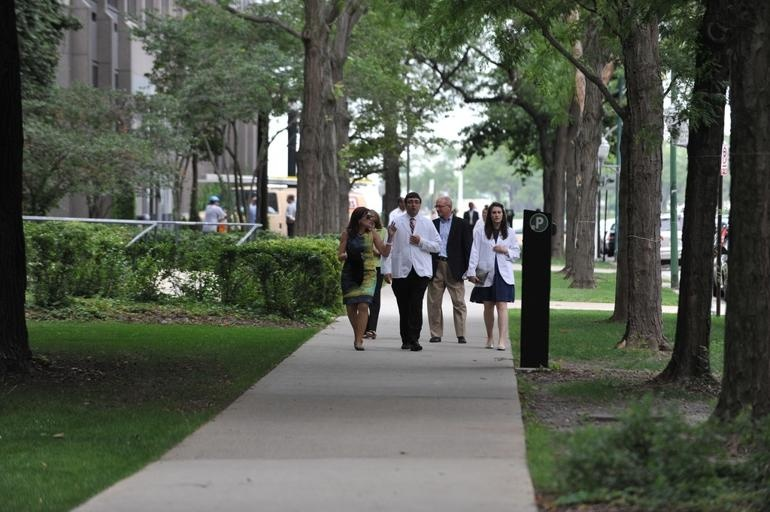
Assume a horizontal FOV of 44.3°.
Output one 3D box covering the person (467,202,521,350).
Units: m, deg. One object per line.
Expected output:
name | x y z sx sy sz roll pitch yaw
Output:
person | 1.621 0.292 14.315 0.768 2.245 0.561 2 7 14

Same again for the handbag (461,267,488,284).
handbag | 1.373 0.294 14.258 0.359 0.246 0.175 3 8 25

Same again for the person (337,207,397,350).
person | -0.360 0.319 14.151 0.661 2.138 0.511 0 7 -4
